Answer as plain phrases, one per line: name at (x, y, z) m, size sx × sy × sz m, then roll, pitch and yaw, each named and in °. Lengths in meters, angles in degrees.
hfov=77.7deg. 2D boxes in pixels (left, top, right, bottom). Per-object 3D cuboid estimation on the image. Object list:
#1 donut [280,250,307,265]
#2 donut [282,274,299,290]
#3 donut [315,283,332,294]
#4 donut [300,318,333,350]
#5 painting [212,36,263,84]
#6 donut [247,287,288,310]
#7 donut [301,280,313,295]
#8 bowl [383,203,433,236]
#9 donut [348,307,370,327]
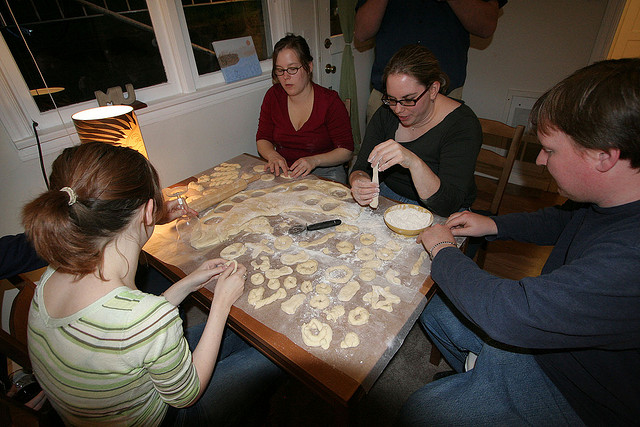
donut at (-0.154, 0.263, 2.357) m, size 0.111 × 0.018 × 0.073 m, roll -10°, pitch 37°, yaw -10°
donut at (-0.160, 0.385, 2.244) m, size 0.076 × 0.027 × 0.100 m, roll 13°, pitch 34°, yaw 21°
donut at (0.024, 0.414, 2.204) m, size 0.088 × 0.021 × 0.065 m, roll -2°, pitch 31°, yaw -2°
donut at (-0.019, 0.610, 2.020) m, size 0.170 × 0.047 × 0.142 m, roll 8°, pitch 33°, yaw 14°
painting at (-0.764, -1.448, 3.775) m, size 0.485 × 0.353 × 0.041 m, roll 4°, pitch 31°, yaw 32°
donut at (-0.305, 0.461, 2.174) m, size 0.126 × 0.016 × 0.126 m, roll 29°, pitch 50°, yaw 25°
donut at (-0.072, 0.408, 2.212) m, size 0.066 × 0.027 × 0.073 m, roll -14°, pitch 34°, yaw -21°
bowl at (0.558, 0.032, 2.501) m, size 0.225 × 0.079 × 0.220 m, roll -4°, pitch 35°, yaw 2°
donut at (0.201, 0.538, 2.075) m, size 0.114 × 0.035 × 0.102 m, roll -7°, pitch 32°, yaw -10°
